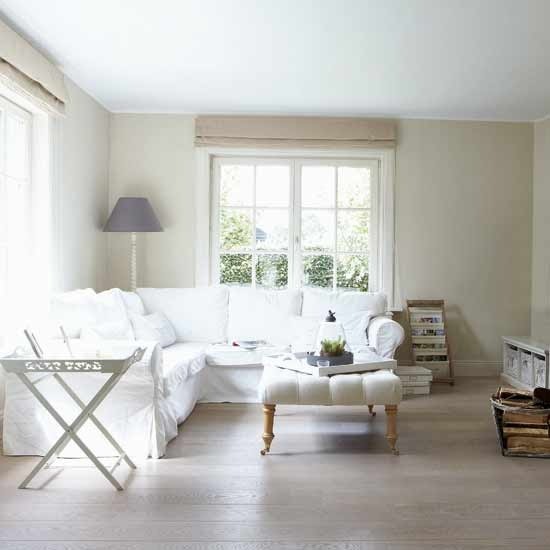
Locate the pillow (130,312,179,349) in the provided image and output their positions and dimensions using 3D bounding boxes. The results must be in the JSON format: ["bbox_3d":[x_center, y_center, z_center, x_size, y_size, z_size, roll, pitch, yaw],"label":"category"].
[{"bbox_3d":[-0.944,0.417,4.201,0.109,0.288,0.388,-25,-7,12],"label":"pillow"}]

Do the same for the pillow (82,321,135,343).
[{"bbox_3d":[-1.106,0.393,3.623,0.123,0.125,0.435,1,2,21],"label":"pillow"}]

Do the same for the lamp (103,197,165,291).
[{"bbox_3d":[-1.289,-0.292,4.868,0.485,0.845,0.525,-1,2,-19],"label":"lamp"}]
